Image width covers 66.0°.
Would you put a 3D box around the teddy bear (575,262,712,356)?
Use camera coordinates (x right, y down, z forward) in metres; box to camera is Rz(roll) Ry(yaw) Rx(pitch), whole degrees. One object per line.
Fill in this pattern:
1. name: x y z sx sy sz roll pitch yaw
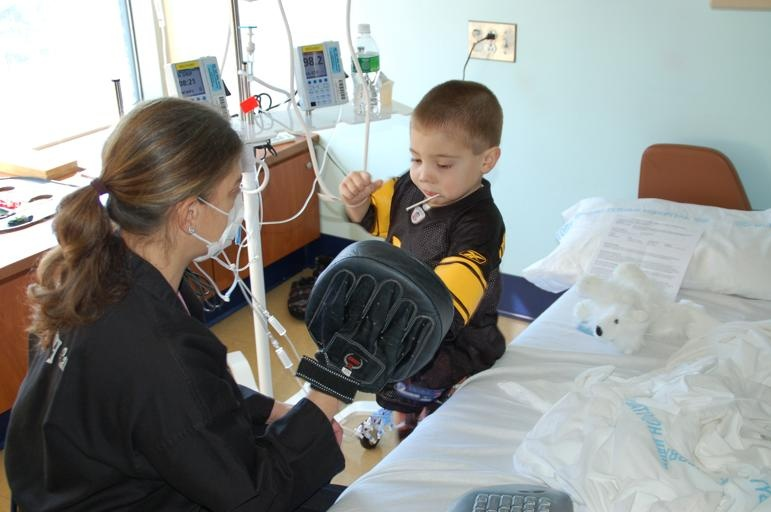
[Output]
1. teddy bear: 0.917 0.221 2.320 0.458 0.338 0.382 -2 26 -7
